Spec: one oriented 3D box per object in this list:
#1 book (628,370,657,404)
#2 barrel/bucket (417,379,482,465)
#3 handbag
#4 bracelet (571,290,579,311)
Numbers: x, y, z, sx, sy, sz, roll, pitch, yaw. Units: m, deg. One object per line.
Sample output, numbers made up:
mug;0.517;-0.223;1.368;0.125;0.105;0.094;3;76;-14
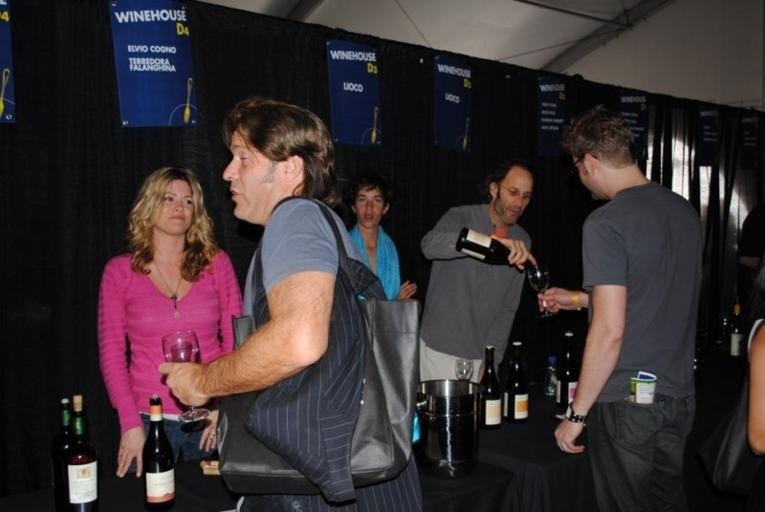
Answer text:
book;1.234;0.619;3.156;0.129;0.150;0.138;1;0;17
barrel/bucket;0.317;0.795;3.142;0.379;0.326;0.248;-1;0;34
handbag;-0.250;0.373;2.580;0.774;1.200;0.311;0;6;4
bracelet;1.109;0.253;3.792;0.020;0.083;0.060;2;-4;-6
